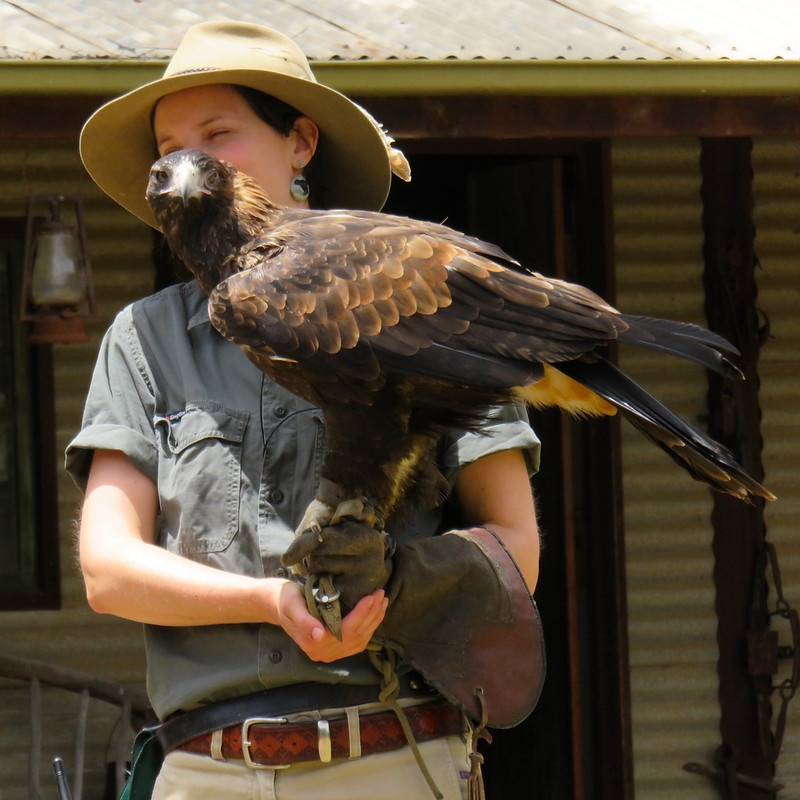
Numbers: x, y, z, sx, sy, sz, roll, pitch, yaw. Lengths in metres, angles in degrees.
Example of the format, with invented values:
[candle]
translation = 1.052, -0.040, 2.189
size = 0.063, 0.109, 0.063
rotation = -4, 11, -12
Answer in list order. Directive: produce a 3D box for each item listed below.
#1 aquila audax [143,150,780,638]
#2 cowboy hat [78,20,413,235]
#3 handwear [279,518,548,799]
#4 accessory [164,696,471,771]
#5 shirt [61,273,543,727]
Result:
[aquila audax]
translation = 0.246, -0.230, 7.053
size = 2.013, 1.112, 0.746
rotation = 4, 18, 35
[cowboy hat]
translation = -0.498, -0.871, 7.270
size = 0.847, 0.381, 0.826
rotation = -11, -26, 25
[handwear]
translation = 0.103, 0.752, 6.919
size = 0.730, 0.779, 0.246
rotation = 3, -3, 6
[accessory]
translation = -0.222, 0.983, 6.813
size = 0.554, 0.097, 0.274
rotation = -6, -17, -14
[shirt]
translation = -0.244, 0.286, 6.877
size = 1.873, 1.418, 0.838
rotation = 4, -21, -5
